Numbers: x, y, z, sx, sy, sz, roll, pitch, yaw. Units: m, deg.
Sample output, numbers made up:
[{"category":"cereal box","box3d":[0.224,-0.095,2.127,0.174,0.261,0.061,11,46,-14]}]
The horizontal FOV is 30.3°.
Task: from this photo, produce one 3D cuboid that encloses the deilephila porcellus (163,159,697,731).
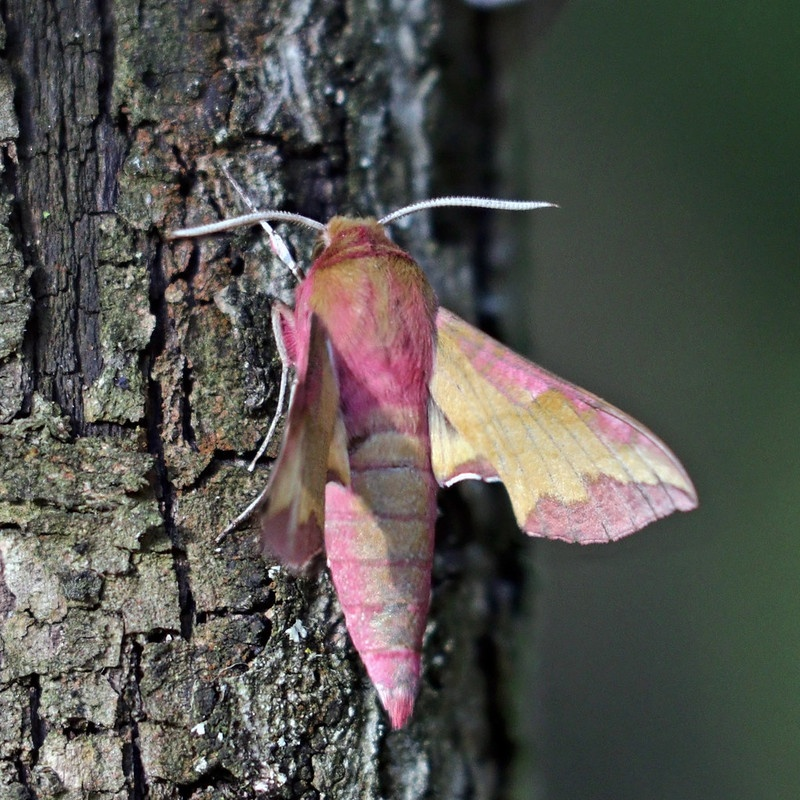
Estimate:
[{"category":"deilephila porcellus","box3d":[-0.042,0.012,2.766,0.898,1.155,0.457,8,-51,-28]}]
